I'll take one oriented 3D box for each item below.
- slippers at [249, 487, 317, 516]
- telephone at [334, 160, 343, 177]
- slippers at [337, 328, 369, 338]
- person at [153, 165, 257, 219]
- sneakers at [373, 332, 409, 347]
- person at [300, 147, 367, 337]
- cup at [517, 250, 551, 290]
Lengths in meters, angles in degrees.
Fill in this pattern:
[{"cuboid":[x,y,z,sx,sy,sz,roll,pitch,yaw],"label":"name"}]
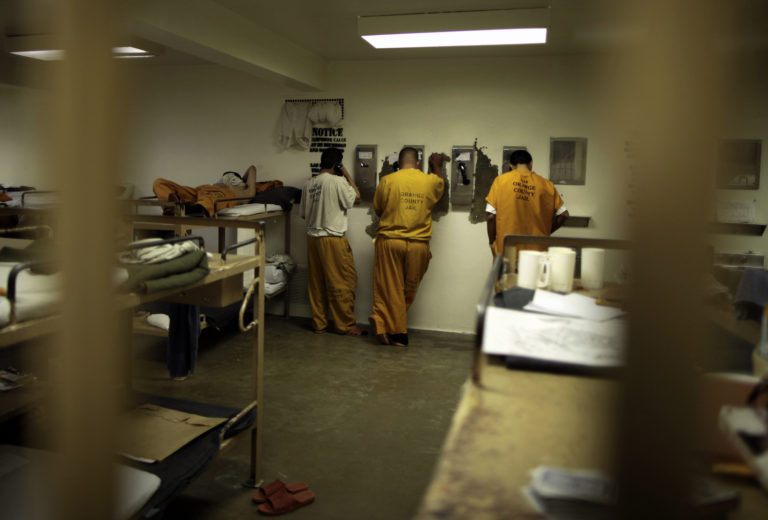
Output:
[{"cuboid":[-0.401,0.976,2.129,0.145,0.041,0.107,1,4,-32],"label":"slippers"},{"cuboid":[-0.397,-0.780,4.577,0.077,0.108,0.031,-16,17,-32],"label":"telephone"},{"cuboid":[-0.264,0.616,4.619,0.288,0.121,0.101,0,12,3],"label":"slippers"},{"cuboid":[-1.399,-0.574,4.206,0.770,0.385,0.253,-5,9,-41],"label":"person"},{"cuboid":[0.056,0.659,4.383,0.291,0.132,0.102,3,-6,4],"label":"sneakers"},{"cuboid":[-0.458,-0.052,4.546,0.477,1.376,0.288,0,7,-10],"label":"person"},{"cuboid":[0.571,0.035,2.020,0.150,0.117,0.095,7,8,39],"label":"cup"}]
